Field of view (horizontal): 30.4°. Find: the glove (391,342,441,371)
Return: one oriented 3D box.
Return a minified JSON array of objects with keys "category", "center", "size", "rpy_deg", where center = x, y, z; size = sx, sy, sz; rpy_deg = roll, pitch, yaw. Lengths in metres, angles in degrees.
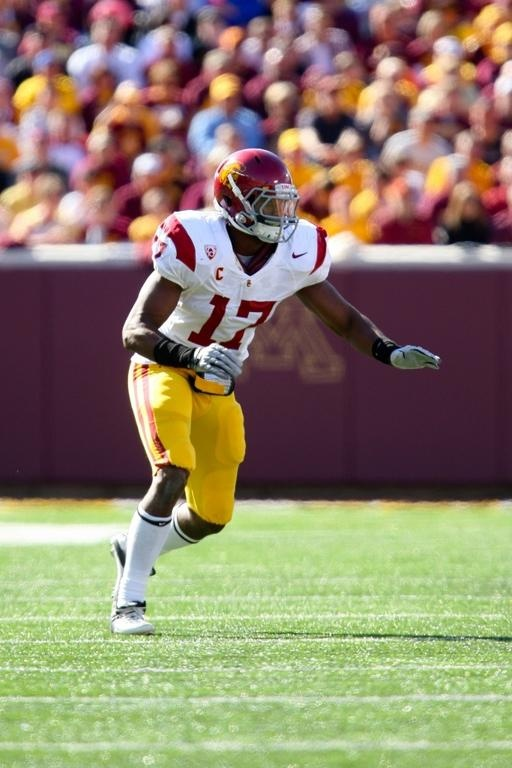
[{"category":"glove","center":[0.464,-0.076,2.714],"size":[0.154,0.052,0.104],"rpy_deg":[-1,-1,18]}]

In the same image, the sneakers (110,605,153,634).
[{"category":"sneakers","center":[-0.314,0.604,2.369],"size":[0.053,0.048,0.137],"rpy_deg":[7,-14,-28]}]

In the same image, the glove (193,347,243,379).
[{"category":"glove","center":[-0.095,-0.049,2.391],"size":[0.095,0.042,0.107],"rpy_deg":[11,3,-29]}]

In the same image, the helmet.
[{"category":"helmet","center":[0.002,-0.535,2.677],"size":[0.231,0.272,0.266],"rpy_deg":[-4,14,-1]}]

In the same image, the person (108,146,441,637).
[{"category":"person","center":[-0.107,-0.012,2.631],"size":[1.056,1.281,0.505],"rpy_deg":[-15,19,-37]}]
